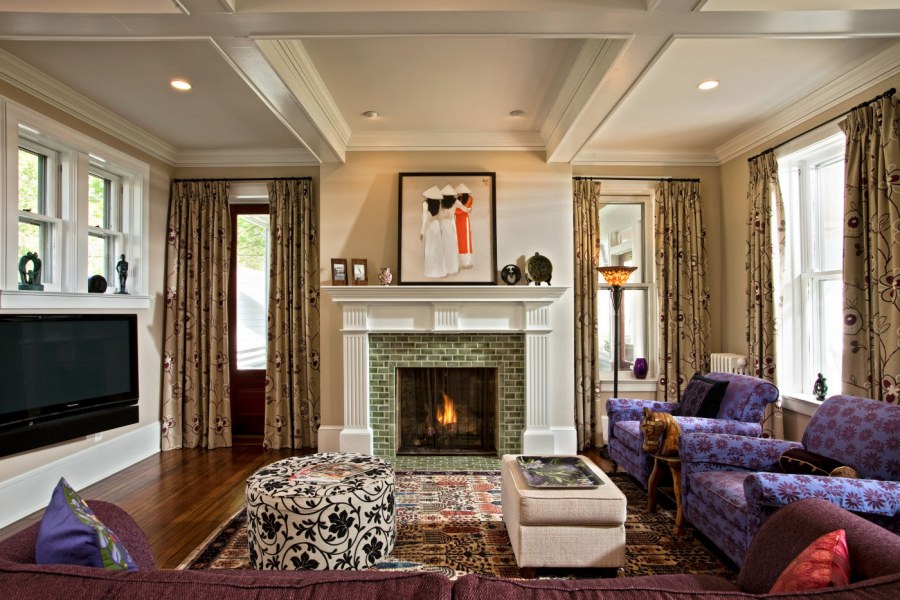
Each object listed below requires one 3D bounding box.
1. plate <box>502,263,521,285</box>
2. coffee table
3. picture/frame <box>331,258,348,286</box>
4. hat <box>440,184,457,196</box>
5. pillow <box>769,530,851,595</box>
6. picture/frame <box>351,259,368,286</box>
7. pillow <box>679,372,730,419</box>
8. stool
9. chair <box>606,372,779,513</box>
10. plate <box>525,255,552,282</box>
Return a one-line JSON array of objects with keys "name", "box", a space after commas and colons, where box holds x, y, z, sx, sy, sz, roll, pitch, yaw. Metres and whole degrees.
[{"name": "plate", "box": [0.616, -0.264, 6.280, 0.230, 0.238, 0.070, 0, 2, 3]}, {"name": "coffee table", "box": [0.781, 1.402, 4.380, 0.591, 0.401, 0.826, 0, -2, -1]}, {"name": "picture/frame", "box": [-1.126, -0.302, 6.327, 0.178, 0.275, 0.082, -1, -2, -7]}, {"name": "hat", "box": [-0.008, -1.123, 6.301, 0.115, 0.050, 0.115, 5, 1, 26]}, {"name": "pillow", "box": [1.678, 1.282, 3.004, 0.343, 0.102, 0.320, -35, -12, -41]}, {"name": "picture/frame", "box": [-0.918, -0.296, 6.294, 0.152, 0.265, 0.093, -1, -3, -10]}, {"name": "pillow", "box": [2.173, 0.827, 5.299, 0.104, 0.324, 0.348, 32, -11, -25]}, {"name": "stool", "box": [-0.916, 1.537, 4.618, 0.962, 0.516, 0.954, 16, 4, 30]}, {"name": "chair", "box": [2.043, 1.147, 5.337, 1.141, 0.928, 1.124, 1, -6, -3]}, {"name": "plate", "box": [0.904, -0.327, 6.257, 0.261, 0.331, 0.127, -1, -2, 3]}]
